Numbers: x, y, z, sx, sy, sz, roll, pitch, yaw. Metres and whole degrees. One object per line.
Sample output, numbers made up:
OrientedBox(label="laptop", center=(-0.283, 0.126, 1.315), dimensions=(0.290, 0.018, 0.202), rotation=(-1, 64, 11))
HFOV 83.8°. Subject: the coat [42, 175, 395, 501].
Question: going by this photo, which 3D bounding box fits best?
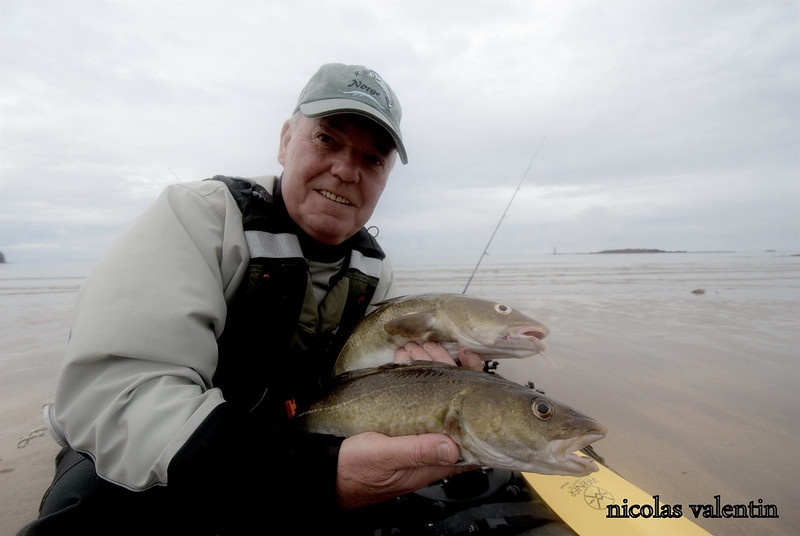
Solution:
OrientedBox(label="coat", center=(-1.921, 0.463, 3.748), dimensions=(1.232, 2.230, 1.384), rotation=(5, 13, 20))
